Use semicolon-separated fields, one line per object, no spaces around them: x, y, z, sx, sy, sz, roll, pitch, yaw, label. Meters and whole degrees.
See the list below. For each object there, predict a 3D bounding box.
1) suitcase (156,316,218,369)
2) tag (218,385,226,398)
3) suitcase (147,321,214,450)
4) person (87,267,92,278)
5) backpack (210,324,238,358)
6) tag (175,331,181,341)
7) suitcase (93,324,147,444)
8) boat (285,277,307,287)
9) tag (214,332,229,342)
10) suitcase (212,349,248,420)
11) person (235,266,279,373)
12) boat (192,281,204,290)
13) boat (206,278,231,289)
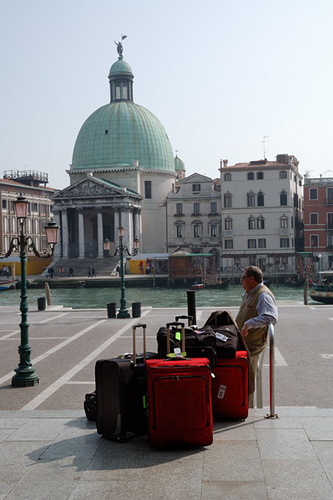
0.364;0.975;7.241;0.482;0.504;0.536;0;0;27;suitcase
0.603;1.543;7.172;0.084;0.146;0.054;-1;-2;-2;tag
0.130;1.378;6.633;0.660;1.165;0.751;-1;-2;-3;suitcase
-7.754;2.251;66.801;0.403;1.038;1.812;-1;-2;-7;person
0.662;1.032;7.297;0.307;0.249;0.456;3;44;1;backpack
0.127;0.972;7.409;0.036;0.082;0.109;2;-12;-20;tag
-0.434;1.373;7.108;0.549;1.202;0.653;-1;-1;36;suitcase
11.915;3.134;62.094;0.718;0.959;2.486;18;-18;-32;boat
0.602;0.959;7.233;0.159;0.017;0.160;29;16;28;tag
0.665;1.498;7.370;0.474;0.747;0.427;0;9;14;suitcase
1.089;0.854;7.937;0.504;1.325;0.931;-2;-2;6;person
2.876;3.211;59.396;0.973;0.704;1.847;-2;-6;16;boat
4.975;2.971;59.042;2.976;1.096;0.730;-9;-11;42;boat
